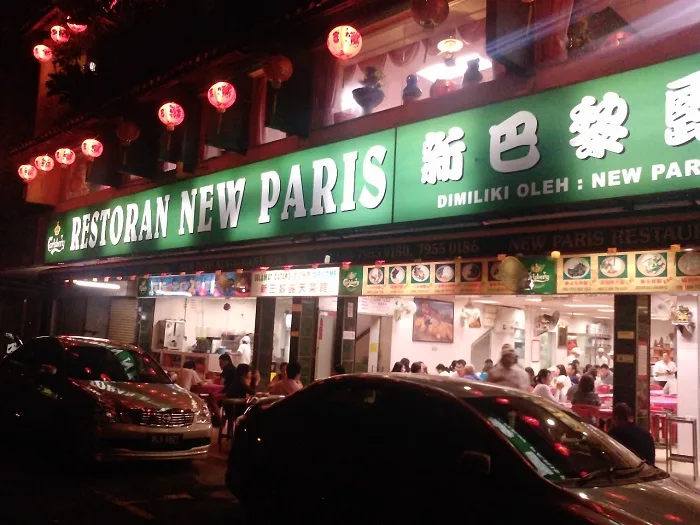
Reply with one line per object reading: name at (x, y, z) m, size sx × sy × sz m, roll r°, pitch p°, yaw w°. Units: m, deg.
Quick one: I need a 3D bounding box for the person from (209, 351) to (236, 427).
person at (-2.924, 3.001, 13.235) m, size 0.597 × 1.679 × 0.551 m, roll 1°, pitch 8°, yaw 11°

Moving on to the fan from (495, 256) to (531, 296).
fan at (2.609, 0.203, 8.900) m, size 0.452 × 0.597 × 0.190 m, roll -1°, pitch -8°, yaw 32°

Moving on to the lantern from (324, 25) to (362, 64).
lantern at (0.009, -4.033, 10.396) m, size 0.773 × 0.845 × 0.740 m, roll 7°, pitch 19°, yaw 7°

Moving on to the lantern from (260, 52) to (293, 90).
lantern at (-1.434, -3.825, 11.255) m, size 0.678 × 0.772 × 0.666 m, roll 2°, pitch -9°, yaw -6°
